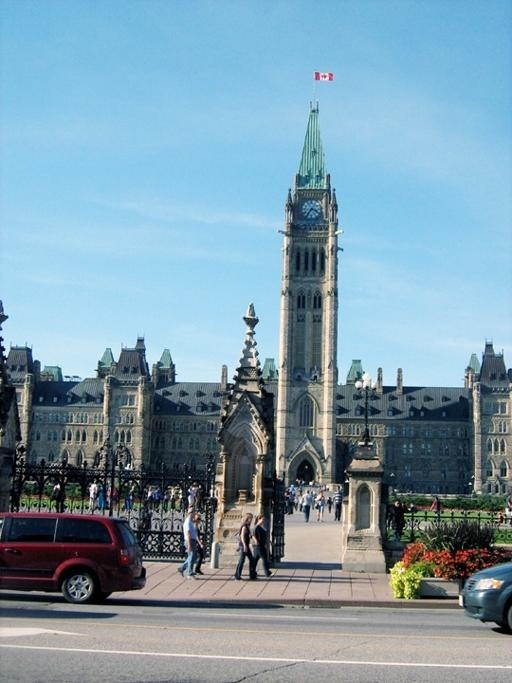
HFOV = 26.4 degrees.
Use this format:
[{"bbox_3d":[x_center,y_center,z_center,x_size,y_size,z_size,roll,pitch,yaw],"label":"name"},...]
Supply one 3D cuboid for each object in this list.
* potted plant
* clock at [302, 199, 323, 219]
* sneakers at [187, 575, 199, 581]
[{"bbox_3d":[3.781,3.921,20.525,0.989,1.028,1.144,0,-10,6],"label":"potted plant"},{"bbox_3d":[6.183,-14.700,120.214,1.755,1.890,0.252,18,8,30],"label":"clock"},{"bbox_3d":[-1.297,4.737,21.798,0.195,0.091,0.075,2,3,6],"label":"sneakers"}]
